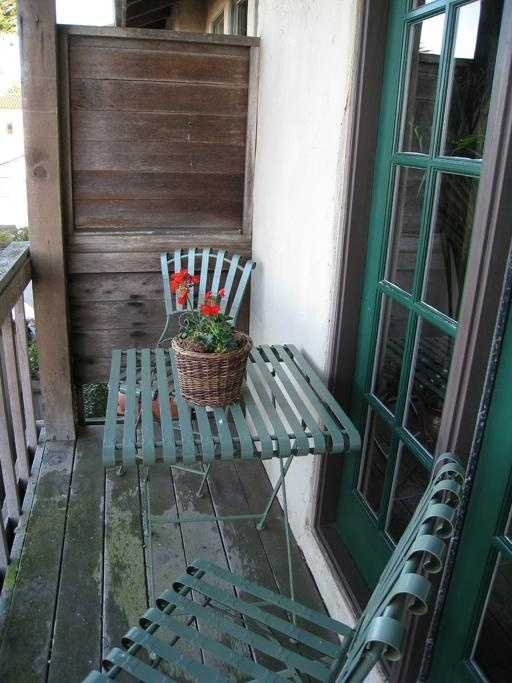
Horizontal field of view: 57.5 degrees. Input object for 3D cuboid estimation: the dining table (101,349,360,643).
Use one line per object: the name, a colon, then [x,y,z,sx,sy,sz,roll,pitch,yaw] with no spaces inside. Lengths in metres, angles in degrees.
dining table: [-0.126,0.421,1.887,0.835,0.943,0.965,-2,34,-8]

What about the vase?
vase: [-0.145,0.090,1.465,0.195,0.176,0.223,3,16,7]
